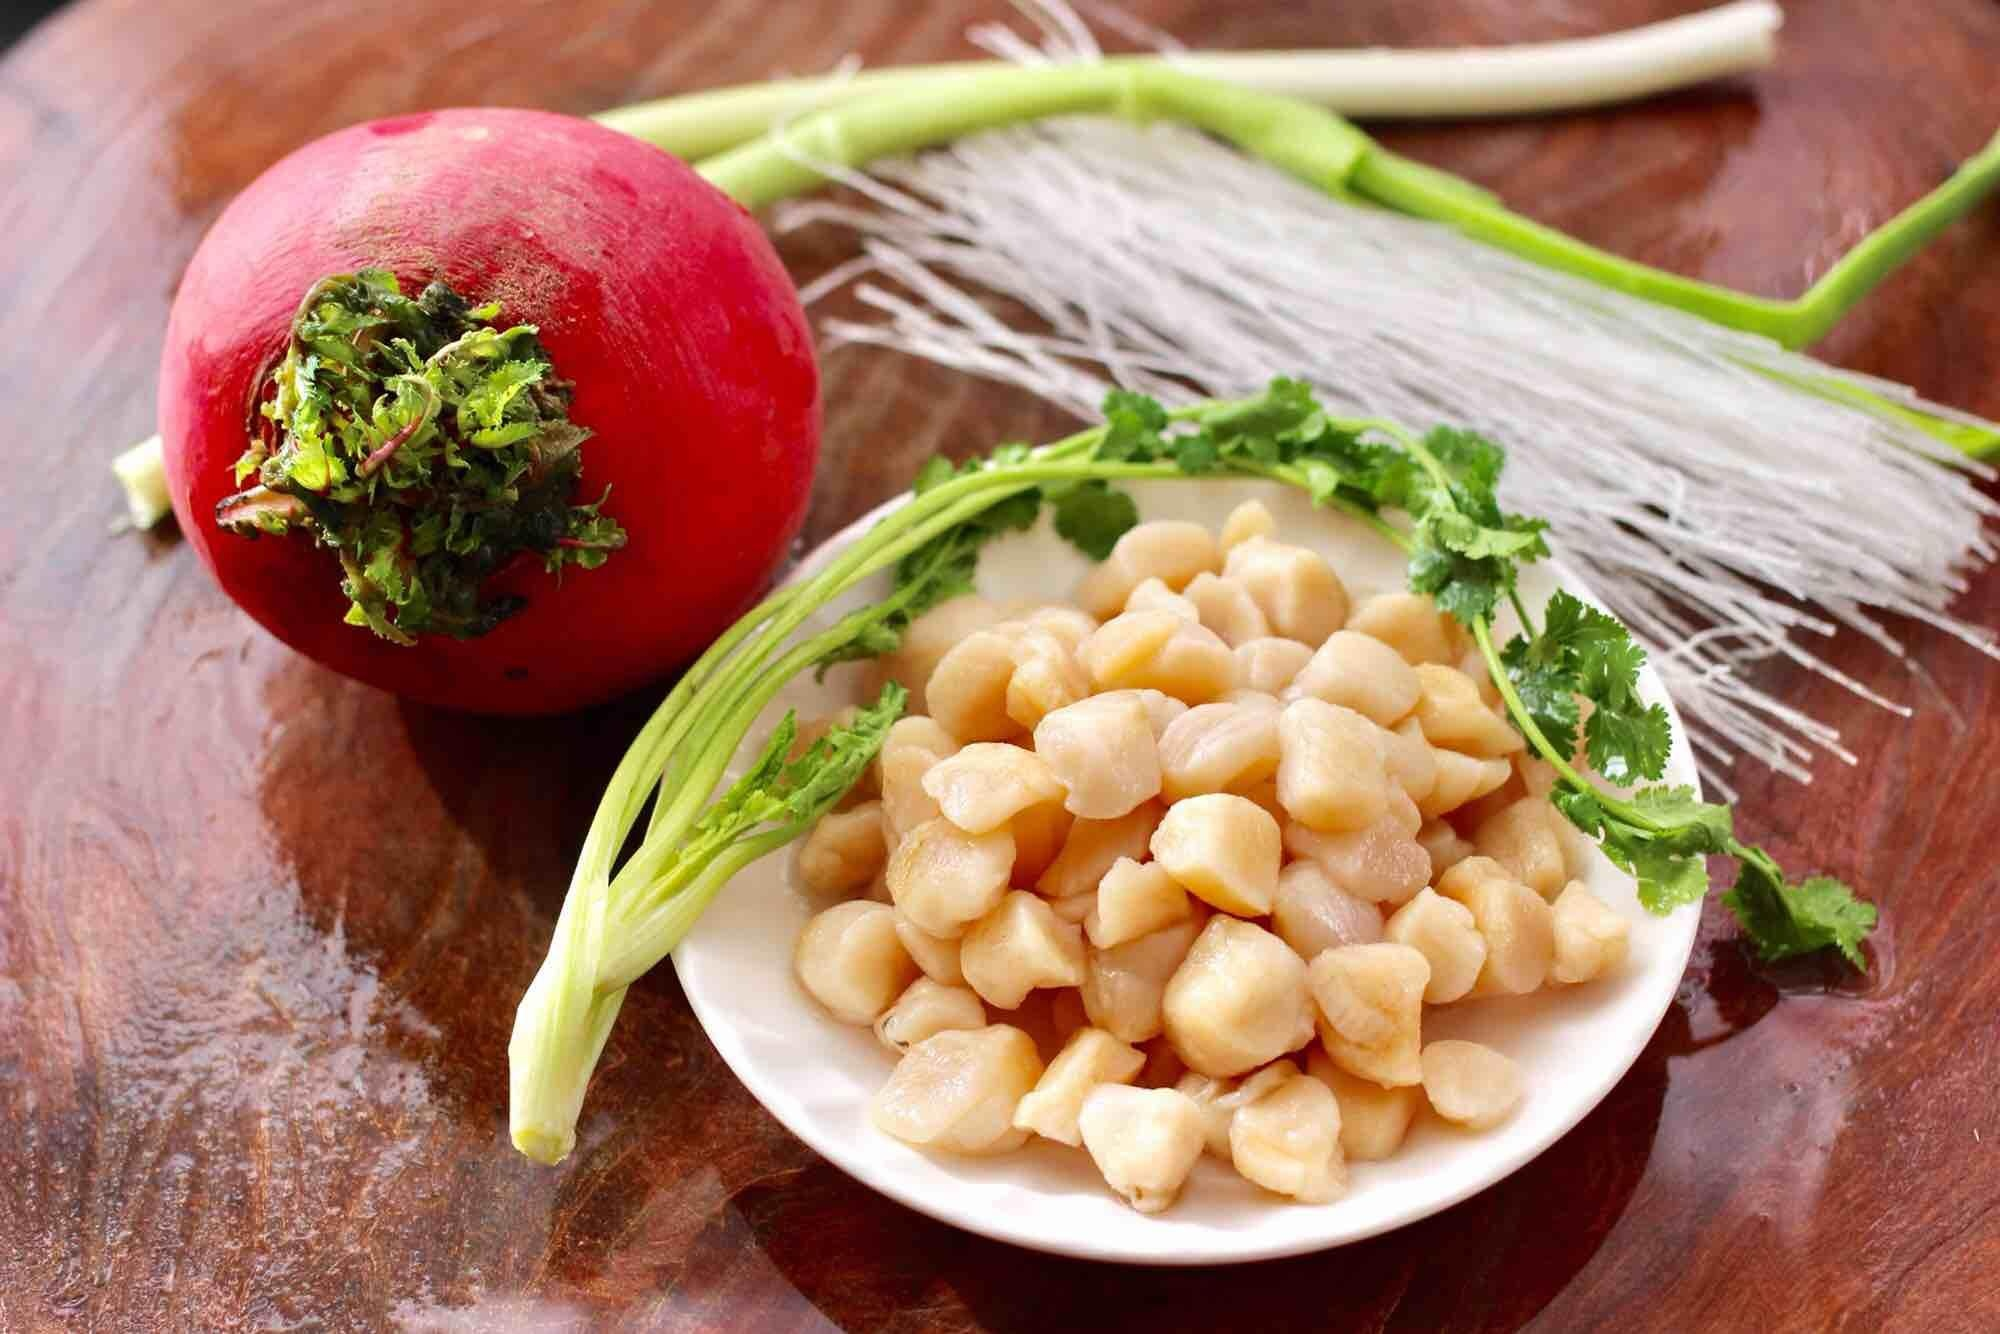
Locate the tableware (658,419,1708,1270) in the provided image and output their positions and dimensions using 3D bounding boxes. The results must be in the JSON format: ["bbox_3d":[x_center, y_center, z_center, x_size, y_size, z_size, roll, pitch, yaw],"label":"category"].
[{"bbox_3d":[0.185,0.182,1.829,0.943,0.260,0.788,5,57,10],"label":"tableware"}]

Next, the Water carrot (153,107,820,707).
[{"bbox_3d":[-0.502,-0.245,1.882,0.641,0.452,0.465,-18,55,-6],"label":"Water carrot"}]

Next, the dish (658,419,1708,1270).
[{"bbox_3d":[0.185,0.181,1.829,0.943,0.260,0.789,5,57,10],"label":"dish"}]
